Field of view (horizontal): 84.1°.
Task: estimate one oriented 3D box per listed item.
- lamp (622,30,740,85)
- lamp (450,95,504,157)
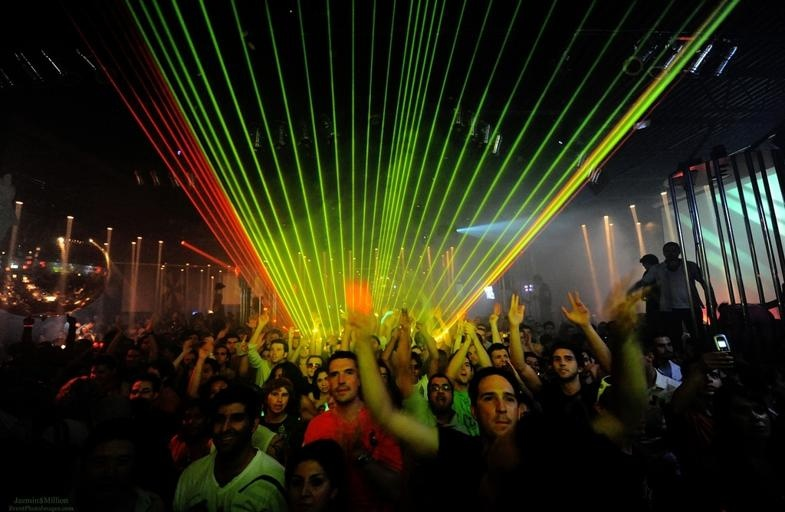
[{"bbox_3d":[8.155,-5.361,11.719,1.463,0.335,1.324,37,-8,-5],"label":"lamp"},{"bbox_3d":[2.832,-4.346,14.918,2.320,1.033,0.952,8,-14,-41],"label":"lamp"}]
